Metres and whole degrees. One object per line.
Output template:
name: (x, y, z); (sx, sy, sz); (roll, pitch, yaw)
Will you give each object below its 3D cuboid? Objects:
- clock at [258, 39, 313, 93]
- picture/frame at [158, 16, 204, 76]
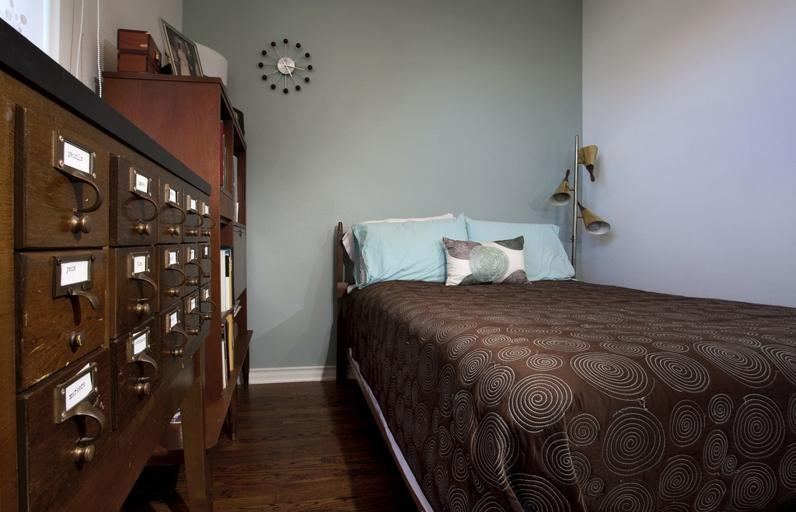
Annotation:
clock: (-0.740, -1.253, 3.464); (0.346, 0.377, 0.037); (0, -4, -8)
picture/frame: (-1.031, -0.967, 2.525); (0.224, 0.229, 0.012); (32, 50, 20)
